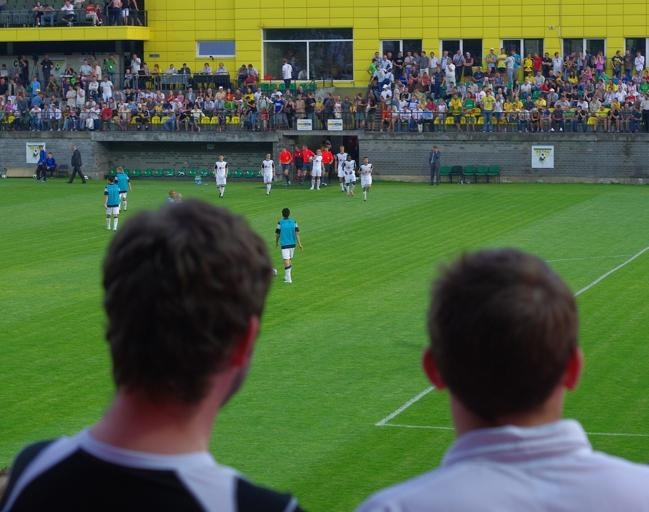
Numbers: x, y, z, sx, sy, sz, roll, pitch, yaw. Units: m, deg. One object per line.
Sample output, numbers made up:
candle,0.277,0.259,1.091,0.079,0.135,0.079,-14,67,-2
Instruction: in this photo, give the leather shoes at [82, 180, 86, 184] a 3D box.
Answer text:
leather shoes,-9.529,-2.964,46.118,0.103,0.117,0.109,-6,13,8

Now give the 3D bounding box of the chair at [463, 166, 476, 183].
chair,5.544,-3.180,44.831,0.506,0.655,0.490,1,11,7

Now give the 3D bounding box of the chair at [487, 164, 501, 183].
chair,6.437,-3.198,44.929,0.561,0.715,0.628,0,-1,10

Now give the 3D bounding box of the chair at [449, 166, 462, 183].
chair,5.032,-3.210,44.992,0.512,0.671,0.602,1,11,6

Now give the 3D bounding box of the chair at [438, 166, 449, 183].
chair,4.588,-3.220,45.130,0.433,0.615,0.536,0,-10,4

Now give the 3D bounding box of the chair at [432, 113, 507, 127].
chair,5.685,-5.437,46.083,2.855,0.652,0.981,3,12,14

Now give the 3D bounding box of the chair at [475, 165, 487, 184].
chair,6.001,-3.191,44.929,0.552,0.765,0.565,0,-7,4
